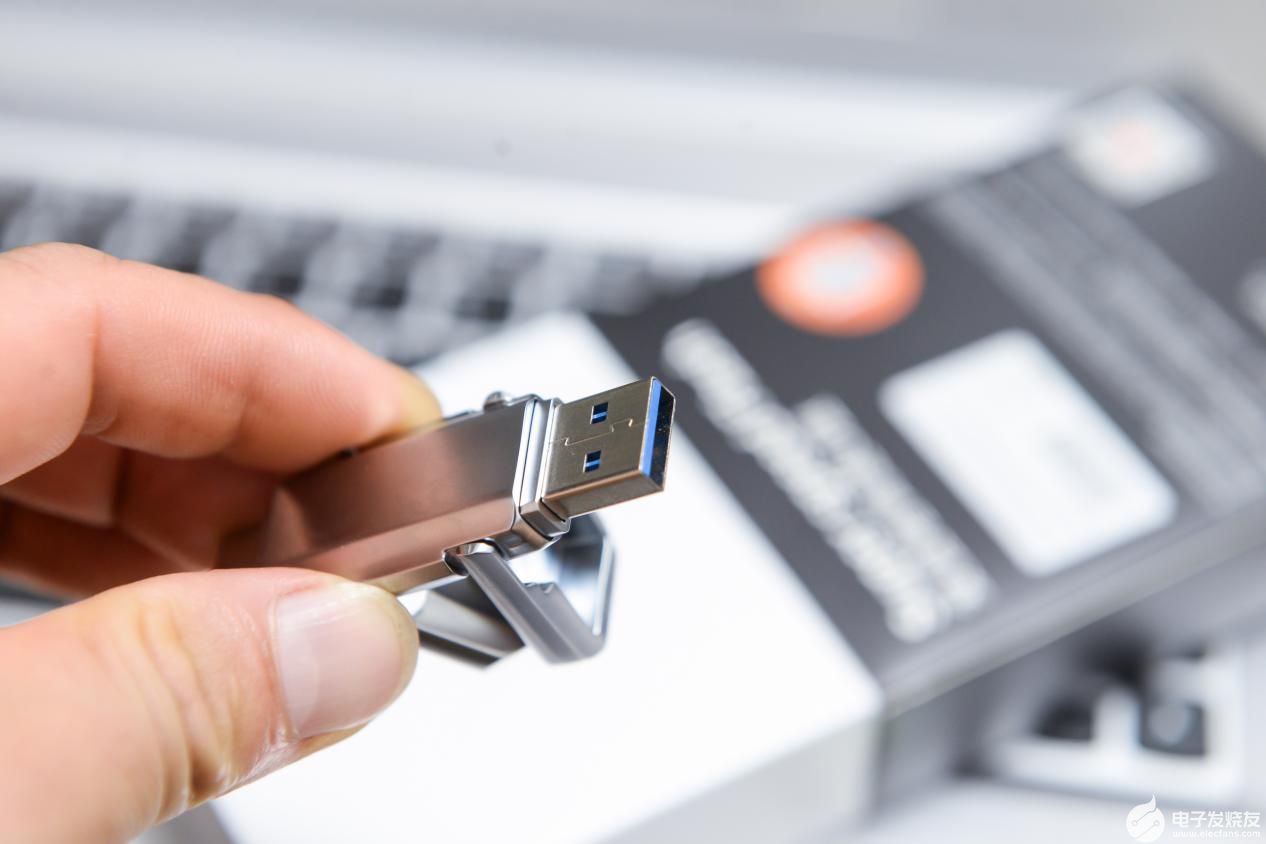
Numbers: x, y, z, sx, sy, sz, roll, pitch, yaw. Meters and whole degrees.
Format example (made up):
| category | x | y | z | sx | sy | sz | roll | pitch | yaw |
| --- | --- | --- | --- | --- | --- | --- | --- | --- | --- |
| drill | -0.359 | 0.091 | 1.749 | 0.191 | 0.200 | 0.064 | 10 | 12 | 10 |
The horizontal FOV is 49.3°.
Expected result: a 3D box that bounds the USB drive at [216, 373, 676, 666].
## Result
| category | x | y | z | sx | sy | sz | roll | pitch | yaw |
| --- | --- | --- | --- | --- | --- | --- | --- | --- | --- |
| USB drive | -0.096 | 0.052 | 0.895 | 0.313 | 0.108 | 0.138 | -13 | 46 | 29 |
